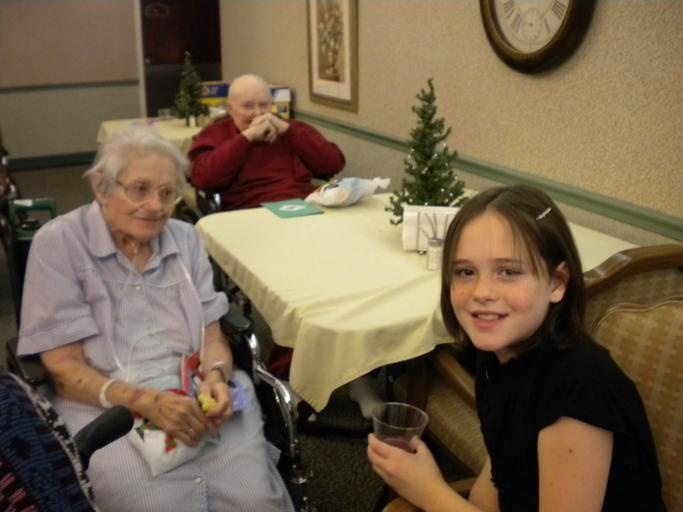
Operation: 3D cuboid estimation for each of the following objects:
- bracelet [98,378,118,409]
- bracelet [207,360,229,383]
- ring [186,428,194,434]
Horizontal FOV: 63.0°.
[{"bbox_3d":[-0.703,0.421,1.690,0.069,0.097,0.034,18,-25,-35],"label":"bracelet"},{"bbox_3d":[-0.411,0.381,1.862,0.053,0.071,0.071,2,43,-11],"label":"bracelet"},{"bbox_3d":[-0.444,0.515,1.629,0.016,0.004,0.017,5,10,-1],"label":"ring"}]
